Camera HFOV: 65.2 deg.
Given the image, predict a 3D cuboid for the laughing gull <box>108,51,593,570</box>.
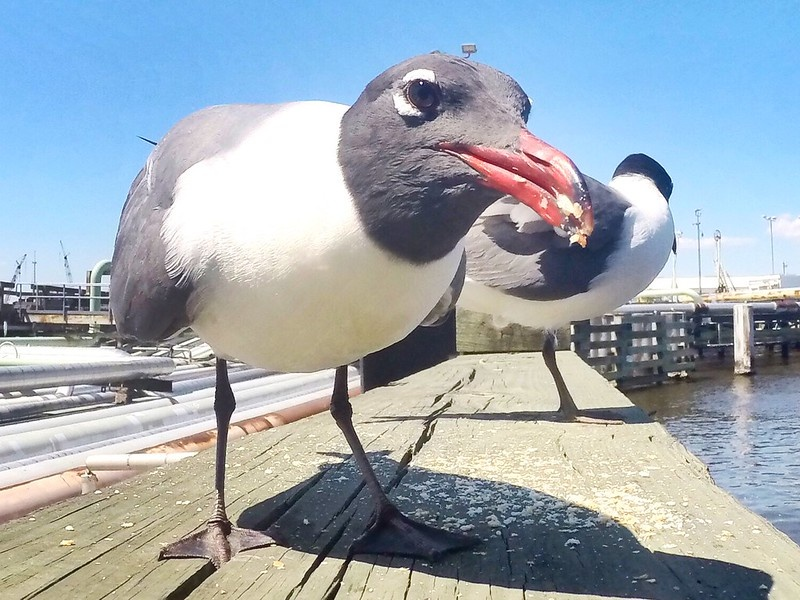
[{"bbox_3d":[-0.230,-0.094,2.914,1.280,1.769,2.392,2,-3,-44],"label":"laughing gull"}]
